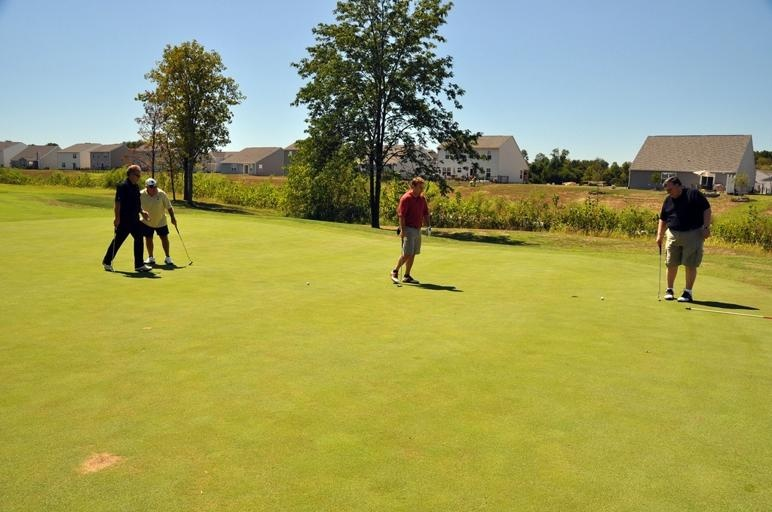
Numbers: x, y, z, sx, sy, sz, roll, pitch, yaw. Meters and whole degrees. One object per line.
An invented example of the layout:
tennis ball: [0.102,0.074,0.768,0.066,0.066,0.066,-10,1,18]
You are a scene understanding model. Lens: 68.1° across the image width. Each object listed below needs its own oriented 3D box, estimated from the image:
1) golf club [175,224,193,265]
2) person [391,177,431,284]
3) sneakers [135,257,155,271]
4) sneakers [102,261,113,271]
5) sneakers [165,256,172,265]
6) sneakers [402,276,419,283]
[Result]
golf club: [-5.448,-0.277,15.317,0.369,0.343,2.536,-19,27,-19]
person: [0.541,-0.593,12.716,0.675,2.249,1.293,3,12,8]
sneakers: [-5.294,0.232,12.561,0.438,0.185,0.294,-5,-30,-50]
sneakers: [-5.916,0.242,12.125,0.199,0.160,0.301,-4,13,-26]
sneakers: [-5.019,0.102,13.138,0.166,0.210,0.339,-3,13,-21]
sneakers: [0.527,0.528,12.503,0.290,0.124,0.156,1,2,6]
